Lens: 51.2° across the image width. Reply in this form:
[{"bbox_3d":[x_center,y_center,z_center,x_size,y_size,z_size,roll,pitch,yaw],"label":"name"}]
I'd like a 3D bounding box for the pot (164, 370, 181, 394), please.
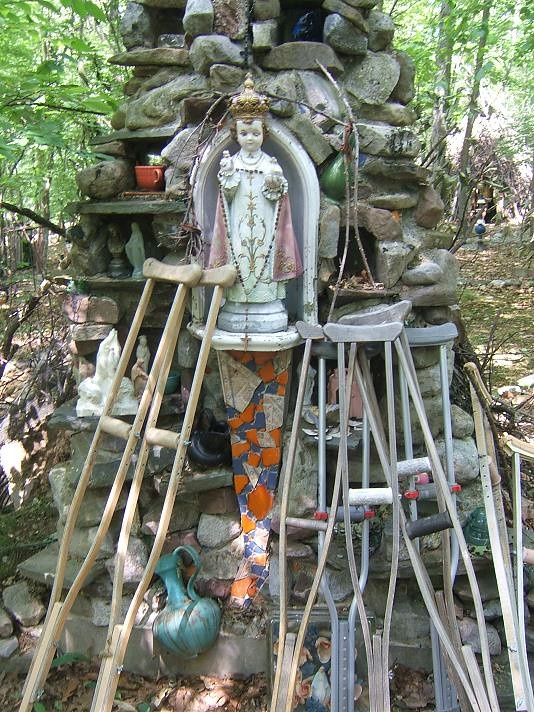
[{"bbox_3d":[-0.561,0.154,3.365,0.120,0.089,0.109,-7,20,-7],"label":"pot"}]

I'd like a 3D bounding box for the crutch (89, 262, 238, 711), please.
[{"bbox_3d":[-0.312,0.226,2.127,0.379,2.003,0.185,10,-4,17],"label":"crutch"}]

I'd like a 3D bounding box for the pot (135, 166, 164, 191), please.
[{"bbox_3d":[-0.664,-1.012,3.205,0.162,0.107,0.139,20,26,34],"label":"pot"}]

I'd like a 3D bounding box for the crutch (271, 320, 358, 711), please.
[{"bbox_3d":[0.135,0.429,1.960,0.239,1.531,0.081,6,-6,-10],"label":"crutch"}]

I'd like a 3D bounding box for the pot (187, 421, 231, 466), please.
[{"bbox_3d":[-0.300,0.473,3.114,0.267,0.181,0.264,2,32,-1],"label":"pot"}]

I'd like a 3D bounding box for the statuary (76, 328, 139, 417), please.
[{"bbox_3d":[-0.898,0.096,3.136,0.378,0.459,0.300,-1,12,-36],"label":"statuary"}]

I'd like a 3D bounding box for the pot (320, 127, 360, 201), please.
[{"bbox_3d":[0.385,-0.984,2.898,0.159,0.359,0.159,8,27,-4],"label":"pot"}]

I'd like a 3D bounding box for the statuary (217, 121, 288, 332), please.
[{"bbox_3d":[-0.061,-0.546,2.764,0.351,0.835,0.360,0,28,-5],"label":"statuary"}]
